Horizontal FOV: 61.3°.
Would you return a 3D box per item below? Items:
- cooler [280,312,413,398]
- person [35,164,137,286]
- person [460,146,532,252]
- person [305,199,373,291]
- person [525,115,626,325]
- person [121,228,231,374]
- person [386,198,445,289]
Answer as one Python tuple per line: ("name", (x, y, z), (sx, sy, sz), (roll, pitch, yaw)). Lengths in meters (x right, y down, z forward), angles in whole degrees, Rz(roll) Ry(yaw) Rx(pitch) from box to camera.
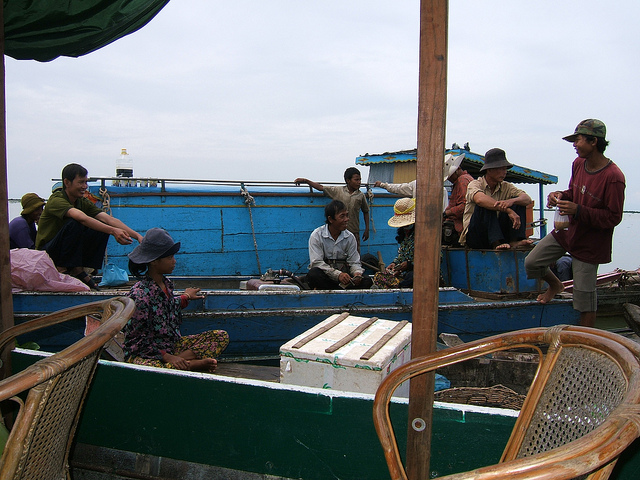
("cooler", (0.247, 0.911, 4.027), (0.676, 0.504, 0.888), (8, 10, 24))
("person", (-2.667, -0.123, 5.974), (0.839, 1.363, 2.180), (-2, 6, -28))
("person", (2.025, -0.450, 6.139), (0.755, 1.124, 0.615), (3, 6, 17))
("person", (0.145, 0.094, 6.401), (0.812, 1.060, 0.925), (8, 8, 43))
("person", (2.420, -0.092, 5.149), (0.753, 1.998, 1.449), (4, 6, 21))
("person", (-1.085, 0.460, 3.973), (0.724, 1.059, 0.897), (7, 5, 20))
("person", (1.185, 0.081, 6.616), (0.804, 1.024, 0.736), (-4, 1, 37))
